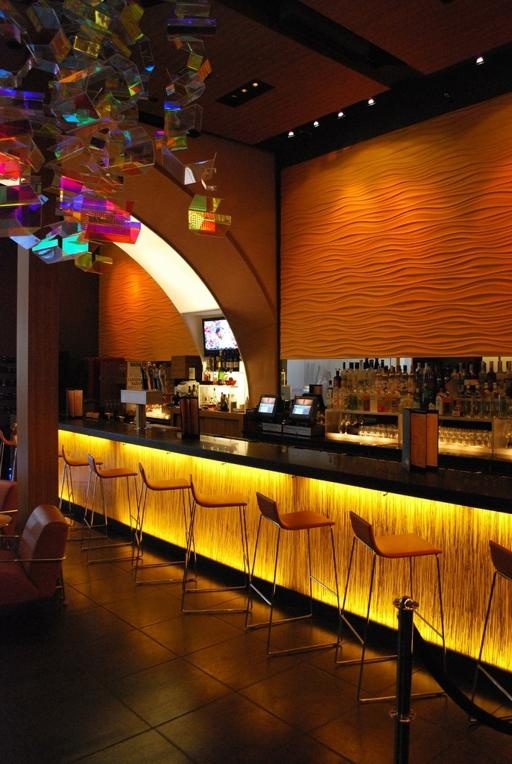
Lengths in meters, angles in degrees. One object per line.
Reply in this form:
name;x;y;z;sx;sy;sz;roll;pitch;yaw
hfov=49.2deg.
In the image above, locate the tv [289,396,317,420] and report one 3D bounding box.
tv;0.503;0.288;6.112;0.167;0.251;0.385;1;-2;-26
